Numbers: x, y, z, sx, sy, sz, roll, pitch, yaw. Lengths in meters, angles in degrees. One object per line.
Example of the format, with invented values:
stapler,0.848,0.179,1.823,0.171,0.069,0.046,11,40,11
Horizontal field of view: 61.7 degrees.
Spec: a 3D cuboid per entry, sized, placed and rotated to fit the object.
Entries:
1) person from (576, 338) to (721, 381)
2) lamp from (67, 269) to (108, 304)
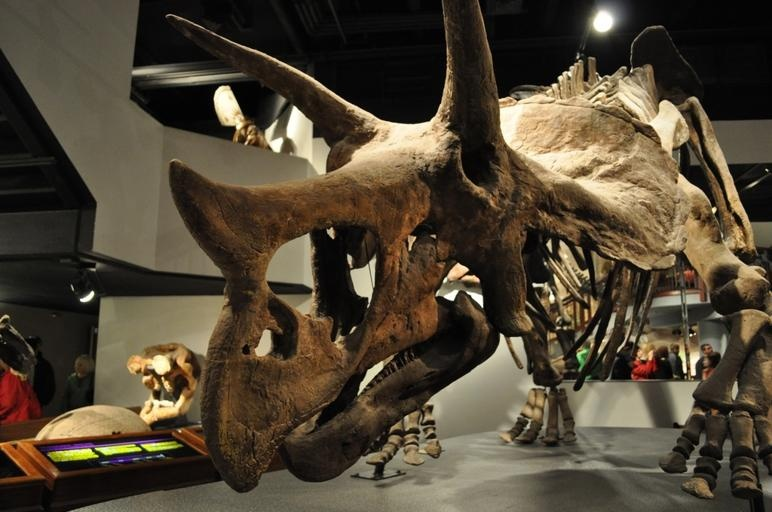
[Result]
person,2.938,1.157,6.919,0.995,0.415,0.343,-3,-3,23
lamp,-3.107,0.307,6.814,0.275,0.315,0.272,-4,-4,37
